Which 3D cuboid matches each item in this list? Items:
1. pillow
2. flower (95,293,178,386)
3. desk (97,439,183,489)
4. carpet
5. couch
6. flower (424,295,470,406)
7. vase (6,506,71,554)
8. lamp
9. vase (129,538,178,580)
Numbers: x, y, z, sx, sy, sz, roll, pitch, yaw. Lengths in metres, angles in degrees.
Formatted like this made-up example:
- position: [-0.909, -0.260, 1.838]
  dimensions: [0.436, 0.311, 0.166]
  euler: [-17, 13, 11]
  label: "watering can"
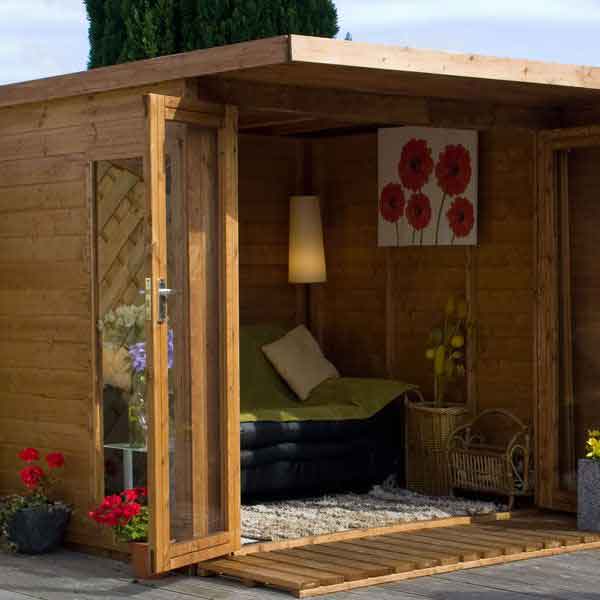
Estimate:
- position: [-0.008, 0.453, 6.196]
  dimensions: [0.144, 0.455, 0.579]
  euler: [-38, 6, 28]
  label: "pillow"
- position: [-0.862, 0.199, 4.181]
  dimensions: [0.401, 0.493, 0.301]
  euler: [3, 7, -9]
  label: "flower"
- position: [-0.814, 0.773, 4.333]
  dimensions: [0.445, 0.337, 0.362]
  euler: [0, 4, -37]
  label: "desk"
- position: [0.339, 1.294, 5.180]
  dimensions: [1.918, 0.116, 1.019]
  euler: [2, -4, -33]
  label: "carpet"
- position: [0.112, 0.796, 5.656]
  dimensions: [1.643, 1.178, 1.082]
  euler: [2, -3, -40]
  label: "couch"
- position: [1.017, 0.359, 5.944]
  dimensions: [0.258, 0.775, 0.422]
  euler: [1, -4, -29]
  label: "flower"
- position: [-1.405, 1.174, 4.409]
  dimensions: [0.299, 0.254, 0.253]
  euler: [0, 5, -35]
  label: "vase"
- position: [0.053, -0.285, 6.516]
  dimensions: [0.272, 1.129, 0.281]
  euler: [-7, 13, -26]
  label: "lamp"
- position: [-0.709, 1.200, 3.836]
  dimensions: [0.159, 0.152, 0.170]
  euler: [-1, -5, 17]
  label: "vase"
